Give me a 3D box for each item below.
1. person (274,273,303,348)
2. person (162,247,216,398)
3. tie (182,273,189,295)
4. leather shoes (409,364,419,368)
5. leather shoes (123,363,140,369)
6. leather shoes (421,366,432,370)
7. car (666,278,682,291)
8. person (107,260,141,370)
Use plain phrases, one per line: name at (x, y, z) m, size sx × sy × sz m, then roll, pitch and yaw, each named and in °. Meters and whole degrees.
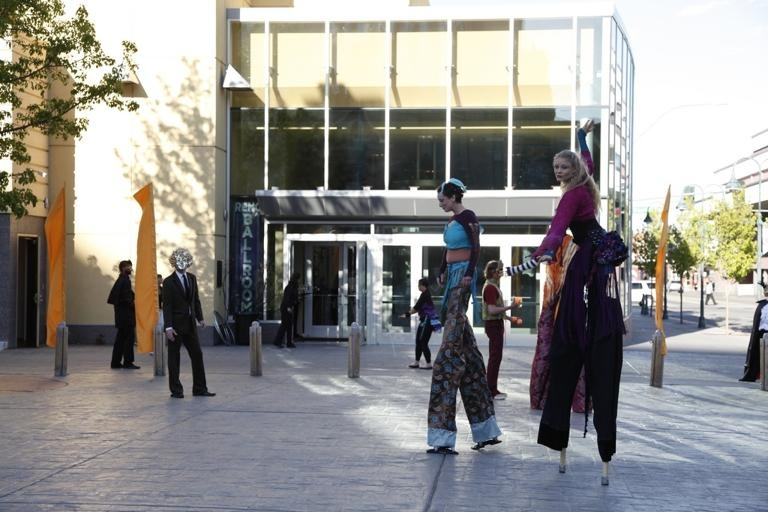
person at (-2.699, 1.523, 28.033) m, size 0.606 × 2.022 × 1.320 m, roll 1°, pitch 0°, yaw -3°
person at (-3.862, 1.317, 19.494) m, size 0.850 × 2.941 × 0.646 m, roll 1°, pitch 0°, yaw -11°
tie at (-3.861, 0.554, 19.573) m, size 0.067 × 0.352 × 0.191 m, roll -4°, pitch 2°, yaw 39°
leather shoes at (0.705, 2.595, 23.288) m, size 0.228 × 0.108 × 0.079 m, roll 5°, pitch -6°, yaw -26°
leather shoes at (-5.766, 2.558, 22.948) m, size 0.346 × 0.170 × 0.126 m, roll -2°, pitch -4°, yaw -6°
leather shoes at (0.984, 2.606, 23.169) m, size 0.105 × 0.137 × 0.316 m, roll 2°, pitch -6°, yaw -34°
car at (22.003, 2.286, 76.055) m, size 1.015 × 0.922 × 1.645 m, roll 2°, pitch 9°, yaw 16°
person at (-5.980, 1.364, 23.123) m, size 0.676 × 2.539 × 0.724 m, roll 1°, pitch 0°, yaw -15°
